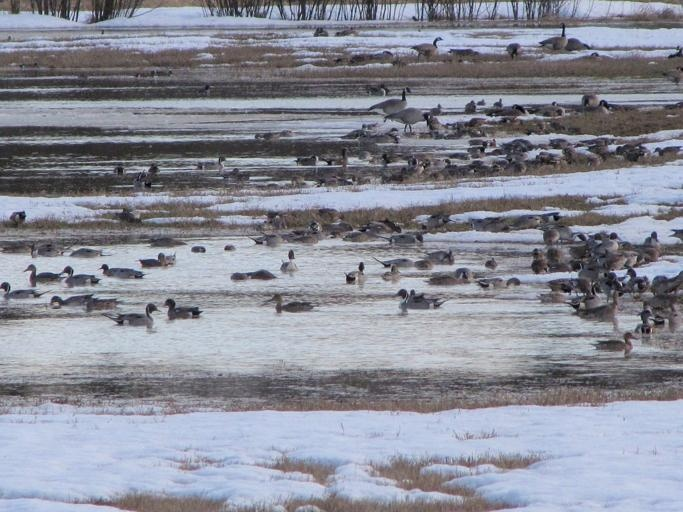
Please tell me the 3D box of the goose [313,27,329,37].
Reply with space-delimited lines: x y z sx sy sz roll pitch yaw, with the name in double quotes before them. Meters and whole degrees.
"goose" -1.470 -20.150 157.176 1.324 0.538 1.721 0 10 -2
